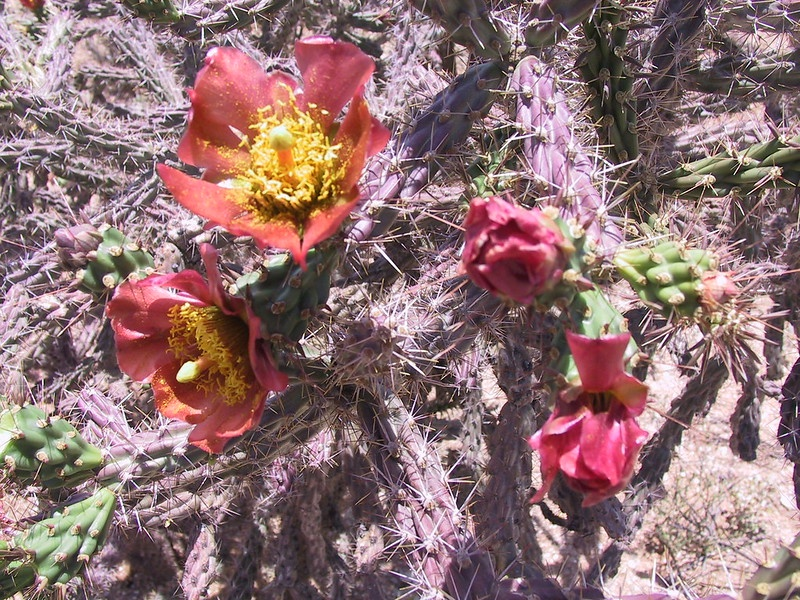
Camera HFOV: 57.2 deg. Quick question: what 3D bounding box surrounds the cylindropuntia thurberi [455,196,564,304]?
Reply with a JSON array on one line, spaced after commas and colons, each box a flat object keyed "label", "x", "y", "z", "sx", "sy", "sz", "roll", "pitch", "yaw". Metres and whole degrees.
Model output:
[{"label": "cylindropuntia thurberi", "x": 0.247, "y": -0.110, "z": 1.609, "sx": 0.202, "sy": 0.226, "sz": 0.121, "roll": -11, "pitch": 33, "yaw": 24}]

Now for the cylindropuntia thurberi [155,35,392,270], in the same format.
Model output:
[{"label": "cylindropuntia thurberi", "x": -0.275, "y": -0.382, "z": 1.875, "sx": 0.500, "sy": 0.299, "sz": 0.614, "roll": 6, "pitch": 78, "yaw": 19}]

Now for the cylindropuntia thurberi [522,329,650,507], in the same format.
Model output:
[{"label": "cylindropuntia thurberi", "x": 0.433, "y": 0.252, "z": 1.673, "sx": 0.203, "sy": 0.320, "sz": 0.399, "roll": 4, "pitch": 42, "yaw": 41}]
